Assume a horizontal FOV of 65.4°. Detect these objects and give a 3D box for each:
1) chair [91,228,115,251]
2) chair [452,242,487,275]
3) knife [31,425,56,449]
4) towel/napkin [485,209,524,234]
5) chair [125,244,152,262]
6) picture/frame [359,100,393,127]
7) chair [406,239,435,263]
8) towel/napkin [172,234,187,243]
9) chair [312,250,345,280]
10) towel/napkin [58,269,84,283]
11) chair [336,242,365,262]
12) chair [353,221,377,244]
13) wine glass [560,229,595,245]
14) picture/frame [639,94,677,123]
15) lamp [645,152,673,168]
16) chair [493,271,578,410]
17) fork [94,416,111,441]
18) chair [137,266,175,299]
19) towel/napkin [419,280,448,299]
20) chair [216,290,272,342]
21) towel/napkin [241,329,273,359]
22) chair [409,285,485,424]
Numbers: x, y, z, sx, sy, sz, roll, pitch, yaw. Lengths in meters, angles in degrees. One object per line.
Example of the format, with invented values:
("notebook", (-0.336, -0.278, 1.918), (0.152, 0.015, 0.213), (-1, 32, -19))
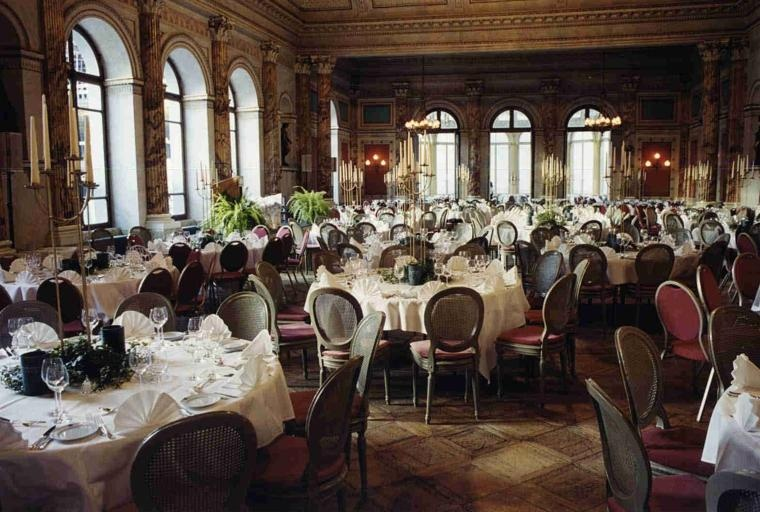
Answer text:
("chair", (-4.759, -0.325, 10.165), (0.331, 0.306, 0.804), (-6, 15, -23))
("chair", (1.125, -0.015, 7.367), (0.356, 0.529, 0.382), (1, 14, 8))
("knife", (-1.825, 0.978, 3.222), (0.035, 0.014, 0.145), (5, 12, -6))
("towel/napkin", (2.645, -0.733, 12.593), (0.850, 0.339, 0.618), (-14, 6, -43))
("chair", (-3.235, -0.041, 7.943), (0.222, 0.358, 0.238), (0, 3, 31))
("picture/frame", (-0.134, -5.646, 23.338), (0.912, 0.735, 0.137), (0, 14, 8))
("chair", (0.468, -0.075, 7.281), (0.279, 0.165, 0.364), (2, 8, -1))
("towel/napkin", (-3.073, -0.269, 9.049), (0.161, 0.124, 0.171), (2, 3, 13))
("chair", (-0.681, 0.153, 7.619), (0.356, 0.514, 0.381), (5, 10, 39))
("towel/napkin", (-3.373, 0.220, 6.467), (0.174, 0.081, 0.190), (15, 0, -26))
("chair", (-0.414, -0.066, 8.280), (0.267, 0.377, 0.282), (-5, 5, -7))
("chair", (-0.291, -0.441, 10.879), (0.354, 0.285, 0.375), (2, 6, 18))
("wine glass", (2.923, -0.257, 8.789), (0.297, 0.139, 0.365), (0, -4, 3))
("picture/frame", (10.389, -5.468, 22.149), (1.252, 0.911, 0.155), (1, 13, 6))
("lamp", (10.496, -3.609, 22.345), (1.006, 0.578, 0.204), (-3, 13, -13))
("chair", (1.550, 0.726, 5.815), (0.609, 1.259, 0.940), (10, 16, 37))
("fork", (-1.592, 0.951, 3.400), (0.057, 0.056, 0.436), (-12, 15, -24))
("chair", (-2.419, 0.283, 6.345), (0.235, 0.410, 0.250), (14, 18, 30))
("towel/napkin", (0.482, 0.316, 5.638), (0.180, 0.071, 0.179), (-9, 47, 9))
("chair", (-1.102, 0.474, 5.011), (0.360, 0.672, 0.461), (0, 2, 3))
("towel/napkin", (-0.853, 0.609, 4.137), (0.218, 0.239, 0.184), (2, -1, -10))
("chair", (0.593, 0.844, 5.291), (0.621, 1.210, 0.348), (0, 13, 3))
